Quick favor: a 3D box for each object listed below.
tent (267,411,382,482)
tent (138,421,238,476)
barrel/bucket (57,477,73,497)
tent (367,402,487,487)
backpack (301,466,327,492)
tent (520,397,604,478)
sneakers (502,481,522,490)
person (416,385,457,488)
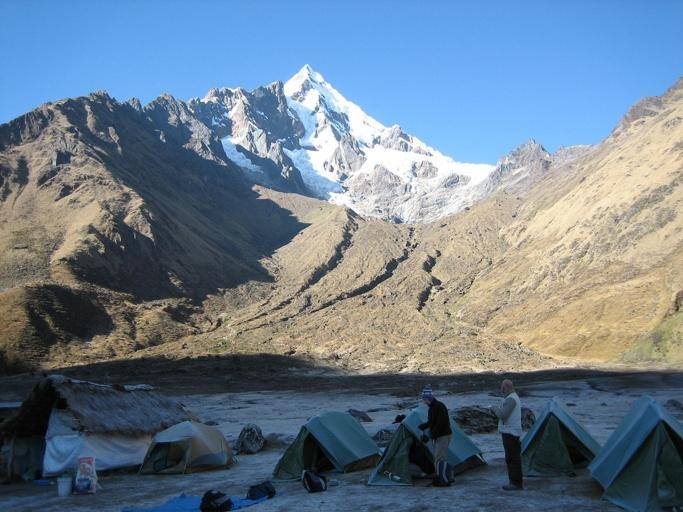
[{"bbox_3d":[-0.310,6.613,25.067,4.378,1.197,3.064,0,5,-39],"label":"tent"},{"bbox_3d":[-5.628,7.086,24.968,2.960,0.989,2.114,-1,-3,30],"label":"tent"},{"bbox_3d":[-9.437,7.838,22.959,0.455,0.614,0.323,-10,-8,20],"label":"barrel/bucket"},{"bbox_3d":[3.236,6.693,23.668,2.708,1.352,3.485,-16,-18,38],"label":"tent"},{"bbox_3d":[-0.931,7.601,22.719,0.922,0.324,0.614,15,0,-7],"label":"backpack"},{"bbox_3d":[7.528,6.064,24.126,3.107,1.207,3.460,-4,4,18],"label":"tent"},{"bbox_3d":[5.470,7.387,21.698,0.605,0.179,0.254,2,-8,2],"label":"sneakers"},{"bbox_3d":[3.157,5.966,22.237,0.857,3.260,0.731,-9,-8,-3],"label":"person"}]
